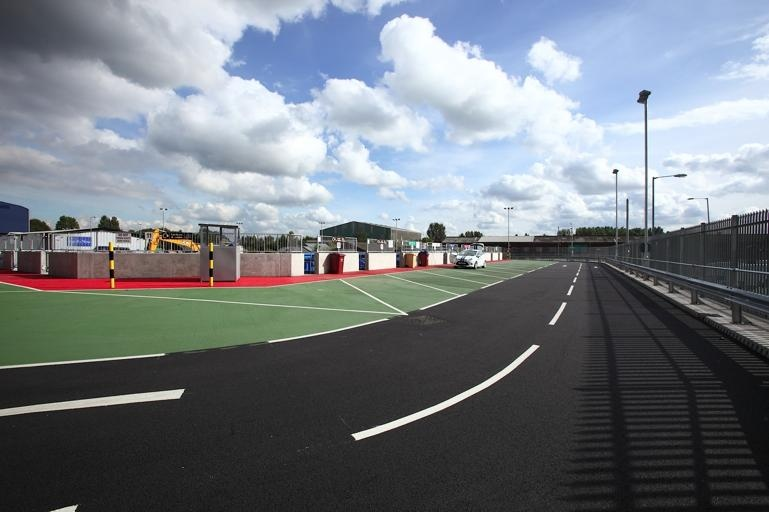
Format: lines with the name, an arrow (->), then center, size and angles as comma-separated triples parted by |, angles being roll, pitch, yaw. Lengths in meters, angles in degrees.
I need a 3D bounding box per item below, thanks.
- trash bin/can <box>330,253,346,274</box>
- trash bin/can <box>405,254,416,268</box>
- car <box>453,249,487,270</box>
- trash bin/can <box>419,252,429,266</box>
trash bin/can -> -2.668, 0.402, 29.865 | 0.754, 1.186, 0.597 | -2, 8, -23
trash bin/can -> 2.212, 0.305, 40.960 | 0.881, 1.360, 1.456 | -1, -1, 19
car -> 6.601, 0.223, 39.314 | 1.228, 0.953, 2.639 | -4, -6, 24
trash bin/can -> 3.254, 0.220, 42.432 | 1.006, 1.233, 1.024 | 0, -3, 0
